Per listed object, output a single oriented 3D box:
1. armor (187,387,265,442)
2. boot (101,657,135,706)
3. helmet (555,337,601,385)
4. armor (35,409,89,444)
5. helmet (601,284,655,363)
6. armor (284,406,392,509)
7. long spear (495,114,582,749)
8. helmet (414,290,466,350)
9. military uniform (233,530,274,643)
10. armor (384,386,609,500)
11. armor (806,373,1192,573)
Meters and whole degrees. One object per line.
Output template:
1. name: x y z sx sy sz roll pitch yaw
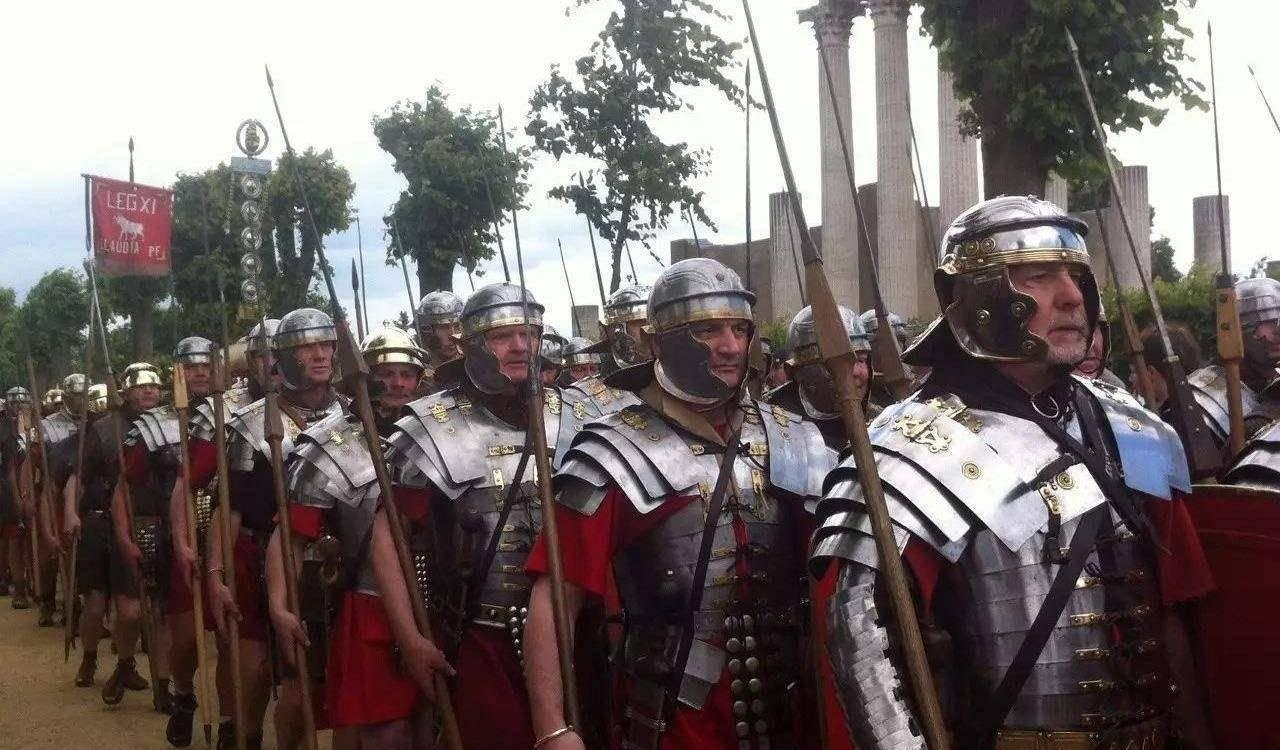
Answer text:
1. armor: -3.748 0.337 11.438 0.518 0.177 0.535 0 14 33
2. boot: -5.410 3.278 13.361 0.308 0.629 0.248 11 -26 -21
3. helmet: -0.616 -0.178 13.395 0.507 0.611 0.634 -3 8 -18
4. armor: -7.796 0.708 17.261 0.425 0.340 0.850 11 12 15
5. helmet: -0.006 -0.475 12.156 0.590 0.766 0.701 -1 1 -22
6. armor: -2.208 0.645 9.229 0.557 0.686 0.945 -4 -3 30
7. long spear: -0.656 0.774 7.894 0.238 4.702 0.206 -5 -8 13
8. helmet: -1.953 -0.541 12.476 0.464 0.576 0.518 -12 15 -38
9. military uniform: -3.222 1.748 10.628 0.276 0.798 0.621 3 -4 -4
10. armor: -1.038 0.502 9.335 1.902 0.692 1.002 -1 4 -34
11. armor: 2.027 0.452 7.111 2.341 0.817 1.263 -6 -4 -26
